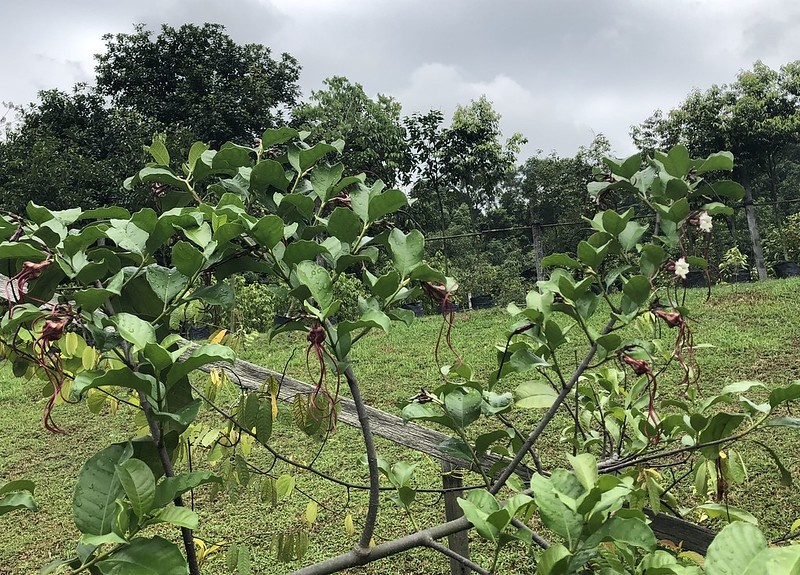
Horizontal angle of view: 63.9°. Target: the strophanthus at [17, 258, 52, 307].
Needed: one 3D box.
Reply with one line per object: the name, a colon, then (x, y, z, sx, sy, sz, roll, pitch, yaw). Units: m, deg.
strophanthus: (-1.051, -0.018, 1.844, 0.094, 0.180, 0.045, 13, 30, -17)
